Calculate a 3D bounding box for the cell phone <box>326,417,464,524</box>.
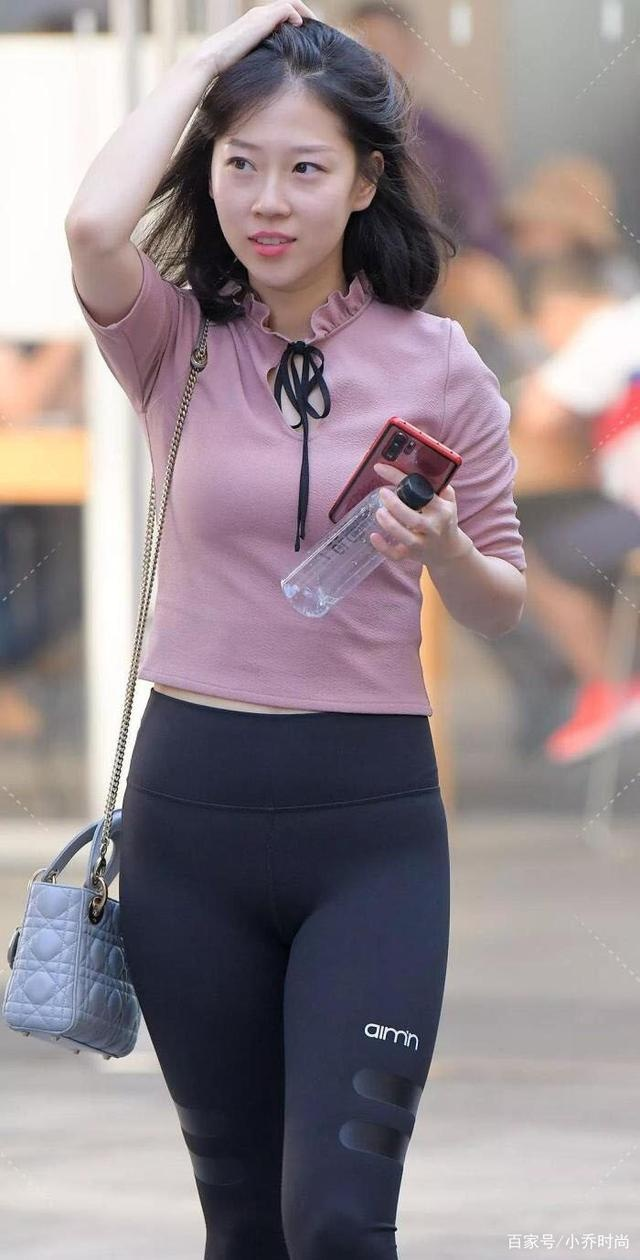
[{"bbox_3d":[0.074,-0.177,1.399,0.083,0.143,0.015,34,16,-18],"label":"cell phone"}]
